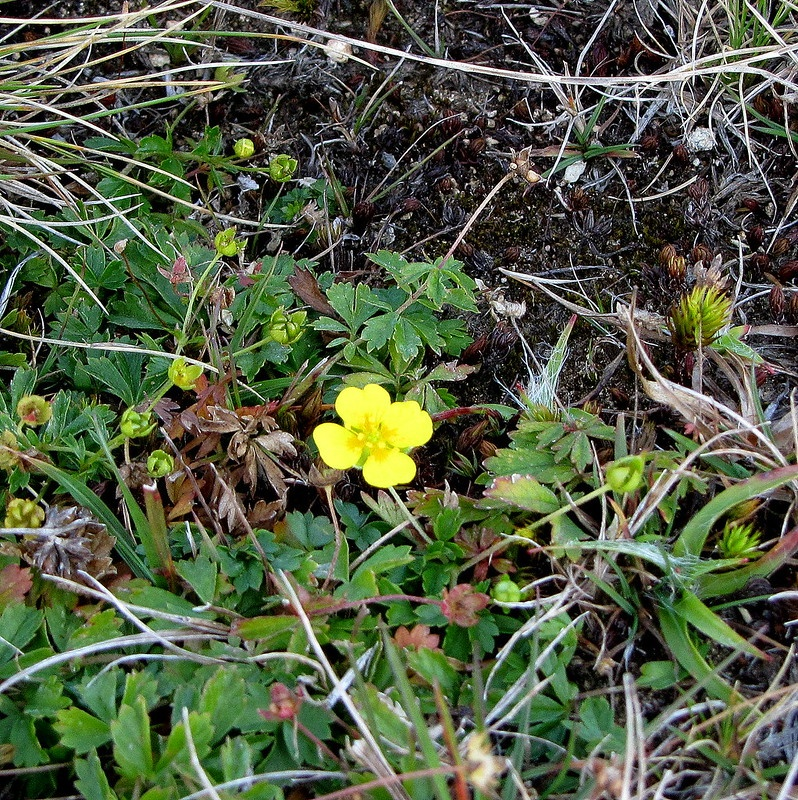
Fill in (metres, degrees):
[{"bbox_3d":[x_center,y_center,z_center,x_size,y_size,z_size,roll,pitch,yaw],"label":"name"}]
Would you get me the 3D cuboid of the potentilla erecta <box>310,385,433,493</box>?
[{"bbox_3d":[-0.072,0.119,2.116,0.280,0.168,0.265,22,56,12],"label":"potentilla erecta"}]
